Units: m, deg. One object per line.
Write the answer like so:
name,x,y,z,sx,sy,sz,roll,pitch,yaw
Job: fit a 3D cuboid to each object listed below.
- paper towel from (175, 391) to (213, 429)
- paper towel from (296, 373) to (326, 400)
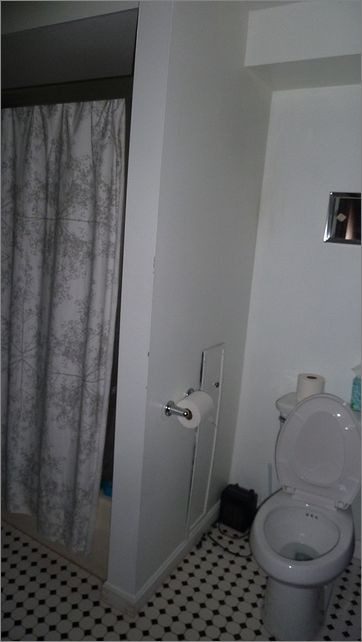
paper towel,0.060,0.275,1.559,0.099,0.108,0.122,-5,9,32
paper towel,0.499,0.257,1.854,0.090,0.110,0.094,-1,10,-16
